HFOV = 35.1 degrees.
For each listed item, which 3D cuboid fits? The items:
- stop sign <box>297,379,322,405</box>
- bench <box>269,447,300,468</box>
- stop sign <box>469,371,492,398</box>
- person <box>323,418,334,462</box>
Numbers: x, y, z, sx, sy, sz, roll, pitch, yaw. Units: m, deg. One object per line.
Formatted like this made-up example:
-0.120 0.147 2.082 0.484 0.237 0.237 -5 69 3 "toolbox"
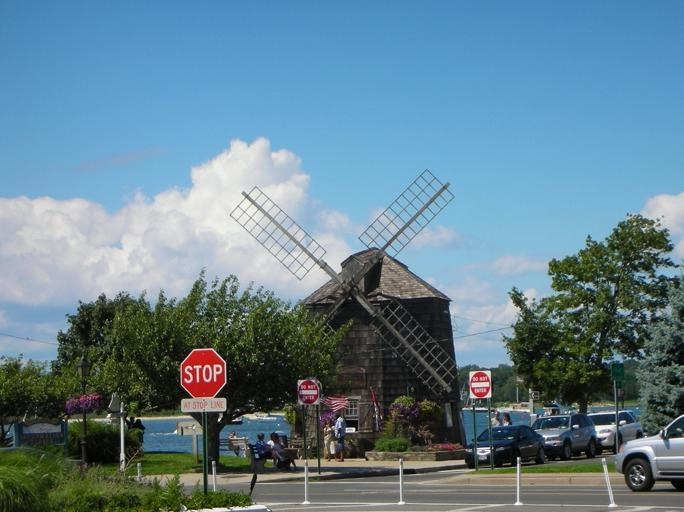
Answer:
-1.317 5.363 42.670 0.847 0.959 0.633 -1 -14 -7 "stop sign"
-2.539 8.872 47.138 1.008 0.998 1.385 -2 -14 -4 "bench"
5.401 5.051 42.285 1.036 1.289 0.060 -2 -5 13 "stop sign"
-0.626 8.889 51.769 0.448 1.832 0.964 -2 -13 0 "person"
